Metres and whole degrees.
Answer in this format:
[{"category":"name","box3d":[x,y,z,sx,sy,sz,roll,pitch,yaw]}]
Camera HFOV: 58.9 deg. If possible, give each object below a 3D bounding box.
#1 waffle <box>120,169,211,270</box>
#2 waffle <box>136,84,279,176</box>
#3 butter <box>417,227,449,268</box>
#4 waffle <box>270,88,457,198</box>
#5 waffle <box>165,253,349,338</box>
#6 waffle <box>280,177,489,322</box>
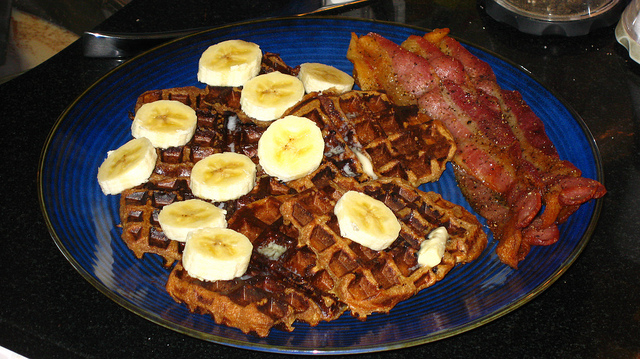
[{"category":"waffle","box3d":[-1.207,0.331,4.159,0.705,0.126,0.645,-26,67,-17]},{"category":"waffle","box3d":[-0.808,-0.297,4.560,0.863,0.188,0.765,-7,58,-9]},{"category":"butter","box3d":[0.812,0.447,3.978,0.217,0.119,0.348,12,49,26]},{"category":"waffle","box3d":[0.355,-0.289,4.264,1.176,0.245,0.823,7,66,2]},{"category":"waffle","box3d":[-0.428,0.787,3.756,0.923,0.173,0.529,16,52,0]},{"category":"waffle","box3d":[0.414,0.388,3.980,1.145,0.291,1.080,-31,67,-26]}]
